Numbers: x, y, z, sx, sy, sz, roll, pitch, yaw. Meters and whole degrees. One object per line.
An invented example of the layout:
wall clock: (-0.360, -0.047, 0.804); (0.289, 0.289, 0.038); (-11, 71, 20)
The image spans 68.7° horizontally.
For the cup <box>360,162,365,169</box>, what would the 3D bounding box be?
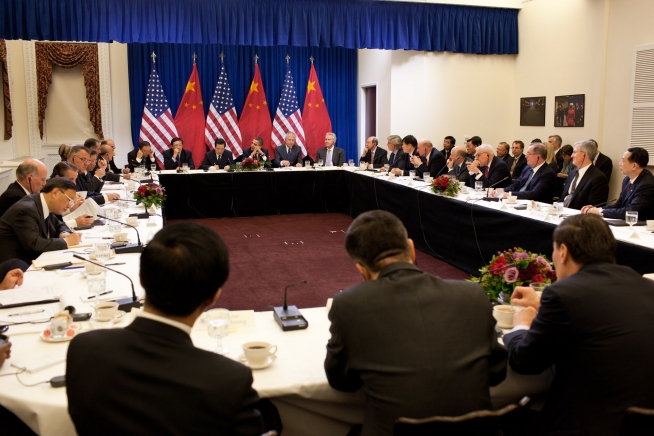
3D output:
cup: (0.634, -0.993, 9.057); (0.086, 0.141, 0.137); (-1, 3, 0)

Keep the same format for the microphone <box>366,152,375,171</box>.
microphone: (0.869, -1.135, 9.482); (0.089, 0.339, 0.239); (2, 3, 9)

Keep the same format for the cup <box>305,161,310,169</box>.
cup: (-0.379, -1.034, 9.343); (0.102, 0.172, 0.167); (0, 1, 8)

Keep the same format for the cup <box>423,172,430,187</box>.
cup: (1.507, -0.593, 7.243); (0.107, 0.183, 0.182); (-1, 2, 4)

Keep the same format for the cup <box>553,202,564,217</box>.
cup: (2.430, -0.093, 5.066); (0.136, 0.163, 0.161); (-1, 4, 5)

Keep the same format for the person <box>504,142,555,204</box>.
person: (2.813, -0.620, 6.696); (0.673, 0.827, 0.651); (-11, 17, -38)

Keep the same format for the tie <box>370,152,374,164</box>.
tie: (0.888, -1.188, 9.479); (0.050, 0.205, 0.044); (-1, -2, 39)

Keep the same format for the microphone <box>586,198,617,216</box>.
microphone: (2.988, -0.122, 5.238); (0.221, 0.060, 0.216); (-8, 8, 25)

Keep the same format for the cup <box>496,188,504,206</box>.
cup: (2.141, -0.291, 5.952); (0.109, 0.128, 0.204); (5, 14, 19)

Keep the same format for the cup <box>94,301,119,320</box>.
cup: (-1.237, 0.522, 2.726); (0.082, 0.059, 0.119); (-1, -2, 1)

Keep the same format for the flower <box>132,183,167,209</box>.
flower: (-2.039, -0.266, 5.560); (0.330, 0.253, 0.342); (3, 14, -1)

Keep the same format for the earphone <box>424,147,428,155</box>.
earphone: (1.675, -1.134, 8.130); (0.053, 0.075, 0.074); (-3, -9, 0)

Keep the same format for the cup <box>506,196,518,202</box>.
cup: (2.216, -0.230, 5.786); (0.083, 0.059, 0.088); (1, 3, 0)

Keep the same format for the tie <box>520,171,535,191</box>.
tie: (2.849, -0.521, 6.819); (0.038, 0.338, 0.052); (24, 3, -35)

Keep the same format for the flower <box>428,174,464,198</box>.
flower: (1.517, -0.418, 6.185); (0.289, 0.213, 0.298); (5, 8, 22)

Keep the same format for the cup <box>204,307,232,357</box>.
cup: (-0.562, 0.593, 2.488); (0.164, 0.282, 0.177); (-2, 2, 0)

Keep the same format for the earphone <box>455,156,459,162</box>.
earphone: (2.018, -0.922, 7.473); (0.057, 0.072, 0.079); (7, 29, 8)

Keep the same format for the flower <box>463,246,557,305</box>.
flower: (1.078, 0.290, 2.836); (0.381, 0.315, 0.392); (-2, 5, -7)

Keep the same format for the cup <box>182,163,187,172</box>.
cup: (-2.557, -0.892, 8.597); (0.111, 0.195, 0.117); (-1, 1, 0)

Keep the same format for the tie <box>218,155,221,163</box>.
tie: (-2.130, -1.166, 9.383); (0.037, 0.168, 0.043); (8, -26, -3)
